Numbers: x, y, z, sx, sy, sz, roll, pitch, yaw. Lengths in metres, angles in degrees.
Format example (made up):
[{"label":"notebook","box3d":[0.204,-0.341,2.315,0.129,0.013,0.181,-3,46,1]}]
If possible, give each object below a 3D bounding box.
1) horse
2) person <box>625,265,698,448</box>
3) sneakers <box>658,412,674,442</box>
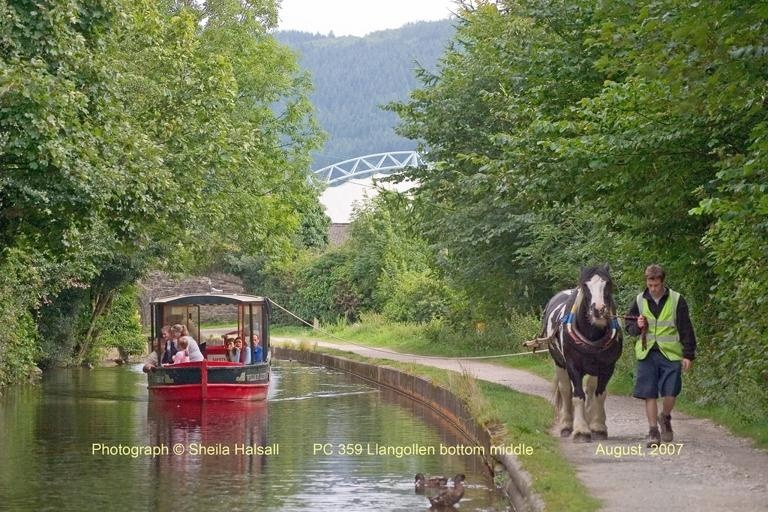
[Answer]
[{"label":"horse","box3d":[3.616,1.761,18.398,1.002,3.123,2.277,-3,1,-3]},{"label":"person","box3d":[4.728,1.717,17.335,1.114,3.093,0.705,-2,2,13]},{"label":"sneakers","box3d":[4.917,3.012,17.569,0.188,0.593,0.232,-5,-14,5]}]
